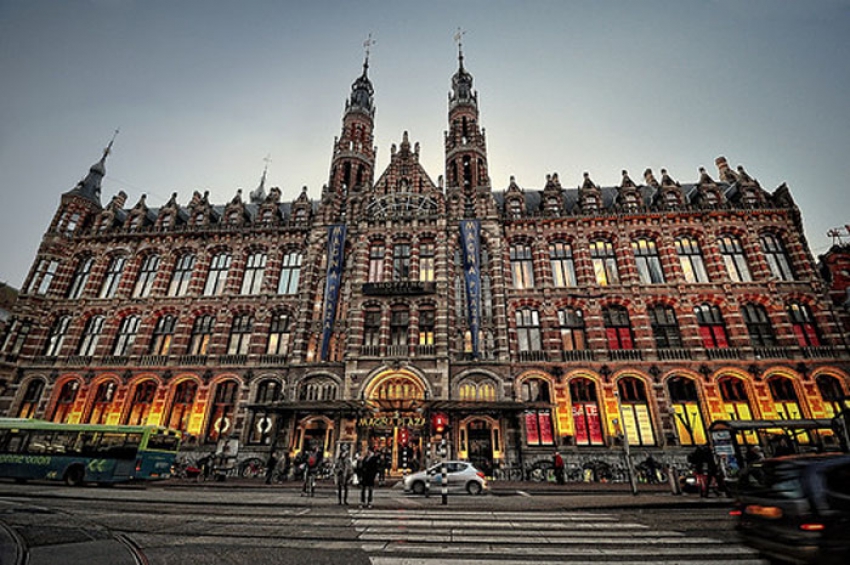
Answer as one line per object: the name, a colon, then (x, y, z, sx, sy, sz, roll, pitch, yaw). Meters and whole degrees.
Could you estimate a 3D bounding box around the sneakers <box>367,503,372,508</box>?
sneakers: (-2.528, 10.169, 20.720, 0.160, 0.144, 0.149, -7, -18, 16)

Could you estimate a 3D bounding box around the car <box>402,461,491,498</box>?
car: (1.165, 10.634, 24.978, 4.223, 1.585, 2.088, 1, -31, 0)

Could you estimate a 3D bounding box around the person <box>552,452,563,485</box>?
person: (8.469, 11.671, 28.473, 0.499, 1.794, 0.959, -5, -24, 10)
